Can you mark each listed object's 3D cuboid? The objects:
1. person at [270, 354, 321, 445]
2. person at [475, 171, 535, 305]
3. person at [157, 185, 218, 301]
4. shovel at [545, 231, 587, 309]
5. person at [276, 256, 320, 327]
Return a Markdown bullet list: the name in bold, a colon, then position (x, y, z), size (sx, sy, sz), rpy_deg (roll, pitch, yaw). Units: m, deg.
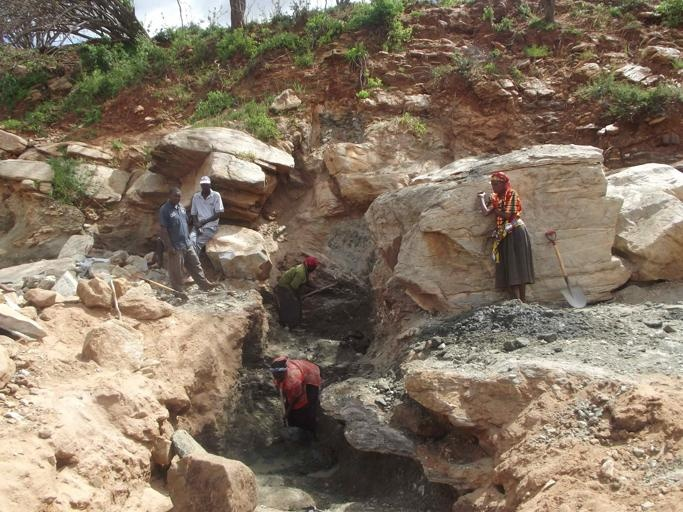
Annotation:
- **person**: position (-0.667, 2.155, 10.450), size (0.741, 1.613, 0.517), rpy_deg (-10, 30, -17)
- **person**: position (2.340, -0.276, 9.766), size (0.583, 1.833, 0.708), rpy_deg (-10, 16, 11)
- **person**: position (-2.702, -0.229, 11.171), size (0.557, 1.794, 0.624), rpy_deg (-6, 17, 22)
- **shovel**: position (3.195, 0.249, 9.927), size (0.414, 1.301, 0.253), rpy_deg (-18, -11, 1)
- **person**: position (-0.788, 0.683, 12.301), size (0.767, 0.500, 1.249), rpy_deg (-6, -25, -14)
